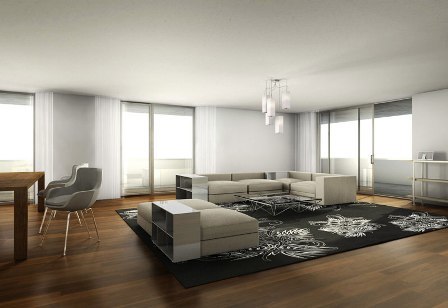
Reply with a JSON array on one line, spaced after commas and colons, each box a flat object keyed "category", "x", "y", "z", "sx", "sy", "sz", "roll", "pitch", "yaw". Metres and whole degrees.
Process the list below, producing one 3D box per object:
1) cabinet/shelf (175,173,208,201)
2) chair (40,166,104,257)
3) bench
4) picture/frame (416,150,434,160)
[{"category": "cabinet/shelf", "x": -0.807, "y": 0.832, "z": 7.298, "sx": 0.519, "sy": 0.669, "sz": 0.772, "roll": -8, "pitch": 12, "yaw": -42}, {"category": "chair", "x": -2.682, "y": 0.877, "z": 5.170, "sx": 0.893, "sy": 1.224, "sz": 1.933, "roll": -5, "pitch": 10, "yaw": -28}, {"category": "bench", "x": -0.129, "y": 1.123, "z": 4.466, "sx": 1.024, "sy": 0.322, "sz": 1.409, "roll": 1, "pitch": 0, "yaw": -27}, {"category": "picture/frame", "x": 5.303, "y": 0.046, "z": 7.560, "sx": 0.252, "sy": 0.280, "sz": 0.460, "roll": 4, "pitch": -1, "yaw": -34}]
